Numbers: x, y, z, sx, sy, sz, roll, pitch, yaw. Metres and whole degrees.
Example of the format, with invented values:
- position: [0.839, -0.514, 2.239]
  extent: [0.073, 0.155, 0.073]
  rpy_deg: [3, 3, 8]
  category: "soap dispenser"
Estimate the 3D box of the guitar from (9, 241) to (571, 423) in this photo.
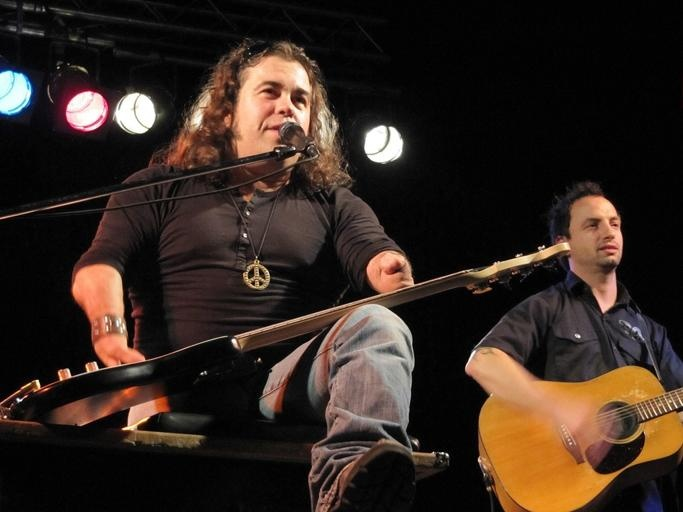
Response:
- position: [-0.248, 0.303, 2.741]
  extent: [1.850, 0.446, 0.417]
  rpy_deg: [-5, -13, -11]
  category: "guitar"

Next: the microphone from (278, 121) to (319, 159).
- position: [-0.177, -0.480, 3.071]
  extent: [0.144, 0.194, 0.121]
  rpy_deg: [-6, -13, -4]
  category: "microphone"
